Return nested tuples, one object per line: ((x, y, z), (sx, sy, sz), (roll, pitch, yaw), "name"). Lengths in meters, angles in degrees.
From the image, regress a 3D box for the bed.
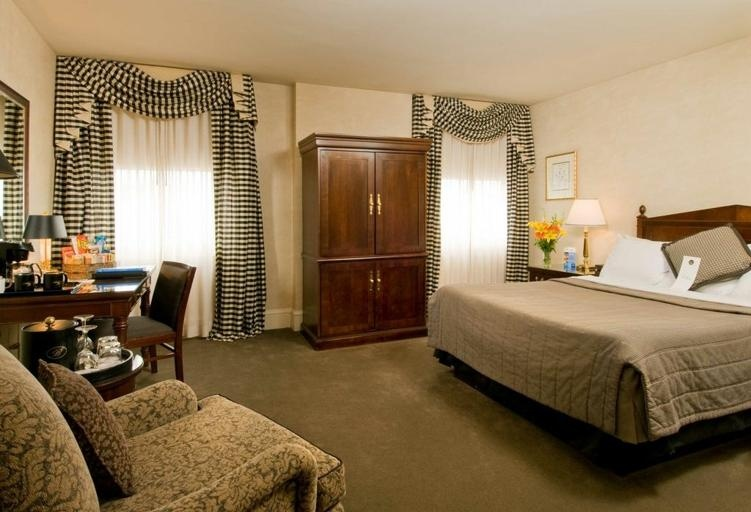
((2.070, 0.423, 4.994), (2.700, 1.866, 2.873), (-2, 5, -29), "bed")

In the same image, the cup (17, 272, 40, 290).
((-2.443, 0.178, 3.623), (0.107, 0.118, 0.064), (-3, 6, -40), "cup")

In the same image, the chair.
((-2.020, 0.577, 4.528), (0.643, 1.011, 0.666), (10, 9, 39), "chair")

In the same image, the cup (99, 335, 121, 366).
((-1.645, 0.577, 3.225), (0.151, 0.186, 0.145), (0, 3, 0), "cup")

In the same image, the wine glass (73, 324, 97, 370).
((-1.755, 0.578, 3.150), (0.135, 0.310, 0.142), (-17, -13, 31), "wine glass")

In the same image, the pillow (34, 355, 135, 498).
((-1.486, 0.995, 2.776), (0.304, 0.606, 0.702), (-3, 2, -34), "pillow")

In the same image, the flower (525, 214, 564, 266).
((2.119, -0.168, 6.528), (0.387, 0.529, 0.443), (7, -16, -40), "flower")

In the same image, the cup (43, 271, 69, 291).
((-2.291, 0.184, 3.764), (0.183, 0.131, 0.117), (-2, 0, -2), "cup")

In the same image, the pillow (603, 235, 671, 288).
((2.575, 0.076, 5.070), (0.156, 0.497, 0.526), (24, -2, -36), "pillow")
